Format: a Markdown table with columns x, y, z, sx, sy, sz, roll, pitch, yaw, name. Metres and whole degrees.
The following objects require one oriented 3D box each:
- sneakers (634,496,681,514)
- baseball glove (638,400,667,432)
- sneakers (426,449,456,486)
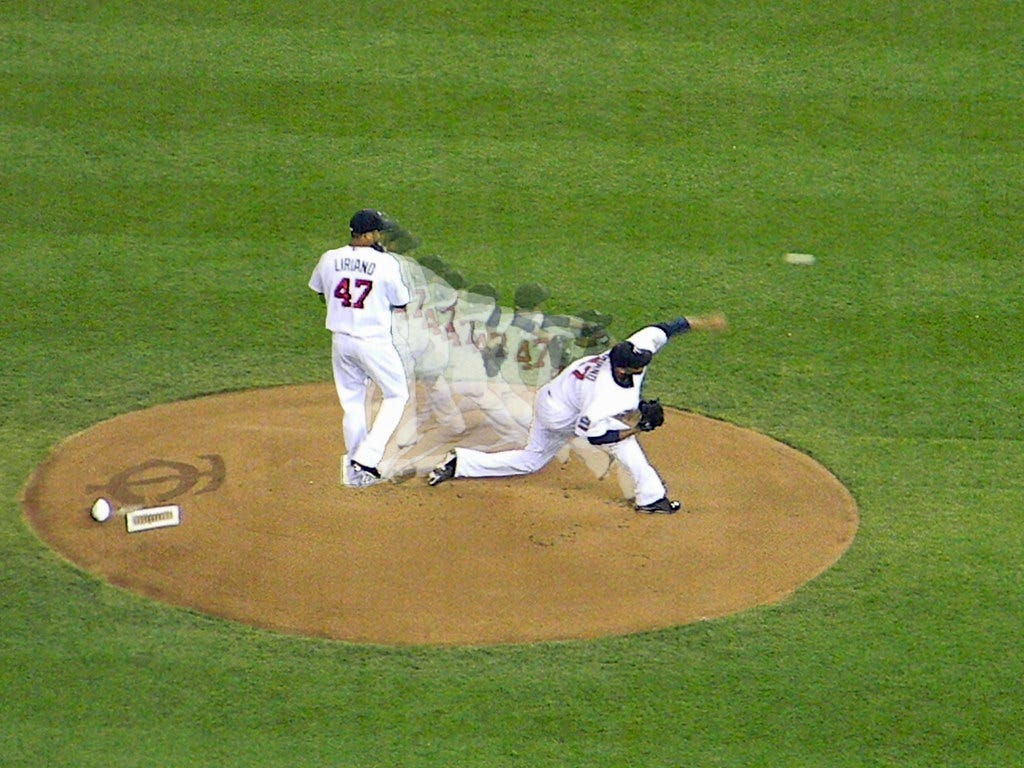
| x | y | z | sx | sy | sz | roll | pitch | yaw | name |
| --- | --- | --- | --- | --- | --- | --- | --- | --- | --- |
| 1.846 | 1.518 | 29.202 | 0.543 | 0.226 | 0.211 | -2 | 19 | -6 | sneakers |
| 1.768 | 0.386 | 29.074 | 0.299 | 0.363 | 0.177 | 3 | 3 | 5 | baseball glove |
| -0.769 | 1.078 | 29.509 | 0.200 | 0.588 | 0.217 | 32 | 13 | -18 | sneakers |
